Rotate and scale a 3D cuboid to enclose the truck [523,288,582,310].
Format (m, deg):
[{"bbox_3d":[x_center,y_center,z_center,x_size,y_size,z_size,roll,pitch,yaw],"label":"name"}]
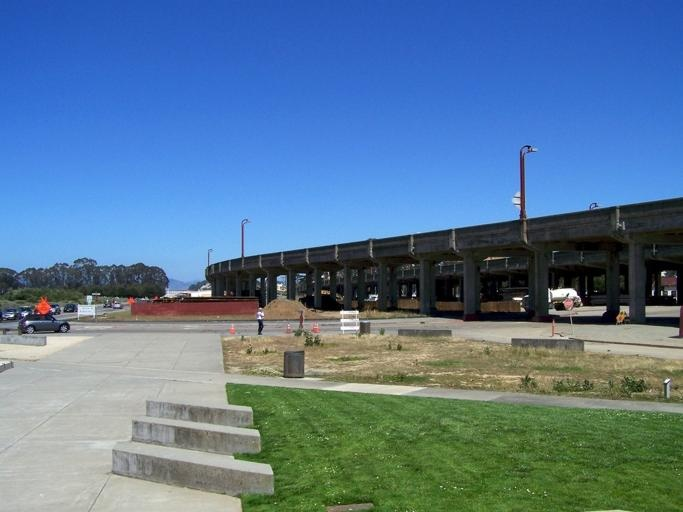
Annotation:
[{"bbox_3d":[29.578,5.790,85.831,7.838,3.033,5.536,0,-5,12],"label":"truck"}]

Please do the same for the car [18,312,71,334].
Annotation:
[{"bbox_3d":[-23.907,5.452,49.064,3.165,1.358,1.935,-1,-1,-14],"label":"car"}]

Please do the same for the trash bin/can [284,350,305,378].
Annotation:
[{"bbox_3d":[-1.566,3.873,22.076,0.890,0.891,0.891,0,-2,33],"label":"trash bin/can"}]
